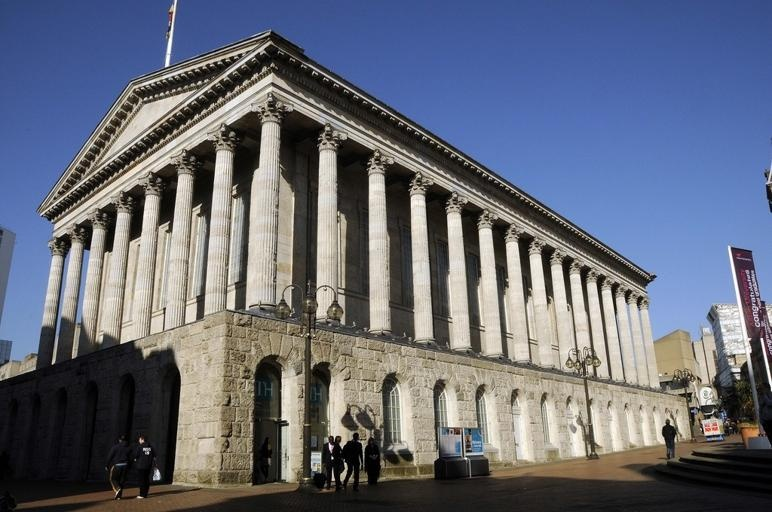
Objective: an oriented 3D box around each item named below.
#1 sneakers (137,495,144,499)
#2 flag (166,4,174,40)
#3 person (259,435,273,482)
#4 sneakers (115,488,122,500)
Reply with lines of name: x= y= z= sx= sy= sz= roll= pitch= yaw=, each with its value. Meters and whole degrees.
sneakers: x=-10.633 y=10.484 z=25.504 sx=0.278 sy=0.099 sz=0.475 roll=4 pitch=-22 yaw=-21
flag: x=-17.464 y=-18.903 z=47.718 sx=0.227 sy=3.277 sz=0.759 roll=13 pitch=-27 yaw=-36
person: x=-6.275 y=10.566 z=30.544 sx=0.716 sy=2.212 sz=0.505 roll=9 pitch=-25 yaw=-30
sneakers: x=-11.641 y=10.455 z=25.746 sx=0.201 sy=0.379 sz=0.264 roll=11 pitch=18 yaw=-49
